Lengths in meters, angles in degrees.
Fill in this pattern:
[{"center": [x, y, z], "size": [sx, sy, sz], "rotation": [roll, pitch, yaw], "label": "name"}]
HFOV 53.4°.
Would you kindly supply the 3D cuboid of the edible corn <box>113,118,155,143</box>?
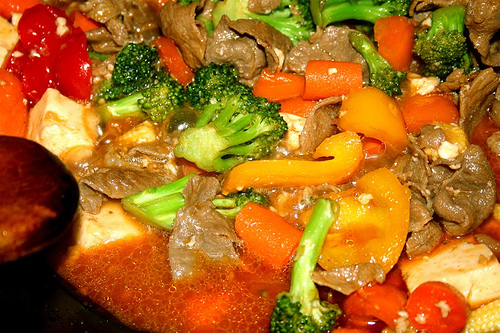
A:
[{"center": [-1.055, -0.355, 4.631], "size": [0.252, 0.253, 0.071], "rotation": [-26, 102, 9], "label": "edible corn"}]
